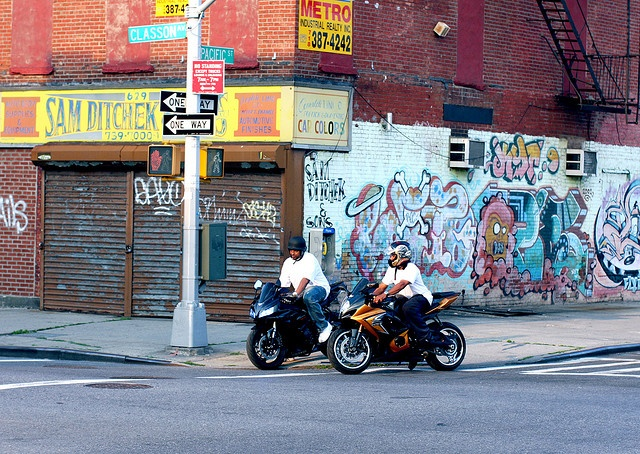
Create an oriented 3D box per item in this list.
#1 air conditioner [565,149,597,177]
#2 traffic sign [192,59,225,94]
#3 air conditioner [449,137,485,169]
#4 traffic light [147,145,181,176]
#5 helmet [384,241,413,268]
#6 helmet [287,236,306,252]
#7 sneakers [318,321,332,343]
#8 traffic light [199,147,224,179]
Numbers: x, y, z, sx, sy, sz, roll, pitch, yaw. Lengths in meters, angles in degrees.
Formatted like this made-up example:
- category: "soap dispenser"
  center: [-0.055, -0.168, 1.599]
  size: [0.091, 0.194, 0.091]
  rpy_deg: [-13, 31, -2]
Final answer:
- category: "air conditioner"
  center: [7.376, -1.779, 32.510]
  size: [0.639, 0.864, 1.163]
  rpy_deg: [-1, -2, 38]
- category: "traffic sign"
  center: [-2.319, -3.042, 23.494]
  size: [0.673, 0.704, 0.067]
  rpy_deg: [0, 6, 5]
- category: "air conditioner"
  center: [3.980, -1.938, 30.584]
  size: [0.658, 0.826, 1.140]
  rpy_deg: [6, 3, 44]
- category: "traffic light"
  center: [-3.205, -1.368, 23.893]
  size: [0.833, 0.849, 0.564]
  rpy_deg: [1, 4, 2]
- category: "helmet"
  center: [1.563, 0.543, 22.624]
  size: [0.488, 0.474, 0.389]
  rpy_deg: [3, 0, 3]
- category: "helmet"
  center: [-0.458, 0.350, 22.782]
  size: [0.295, 0.280, 0.356]
  rpy_deg: [0, -3, 6]
- category: "sneakers"
  center: [0.090, 2.075, 22.467]
  size: [0.195, 0.387, 0.154]
  rpy_deg: [17, -15, 42]
- category: "traffic light"
  center: [-2.263, -1.323, 24.220]
  size: [0.596, 0.765, 0.522]
  rpy_deg: [1, 2, -9]
